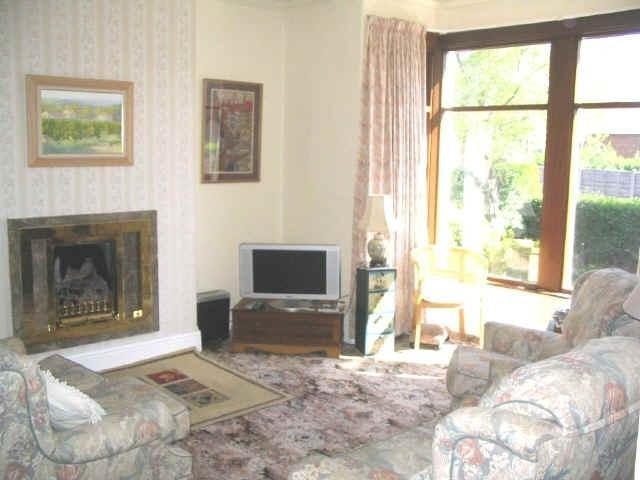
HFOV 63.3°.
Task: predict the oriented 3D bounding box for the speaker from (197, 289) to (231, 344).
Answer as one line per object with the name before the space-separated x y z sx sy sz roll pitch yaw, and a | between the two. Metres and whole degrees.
speaker | -1.121 0.814 5.414 0.296 0.532 0.434 8 12 36

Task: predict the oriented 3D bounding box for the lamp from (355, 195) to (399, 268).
lamp | 0.576 -0.091 5.224 0.365 0.760 0.487 3 13 5

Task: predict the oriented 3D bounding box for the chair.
chair | 1.293 0.568 5.368 0.777 0.990 0.778 -2 9 -13
